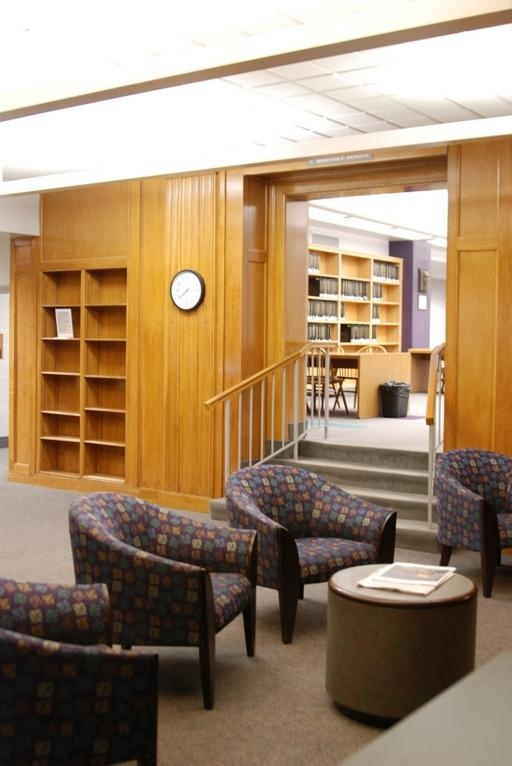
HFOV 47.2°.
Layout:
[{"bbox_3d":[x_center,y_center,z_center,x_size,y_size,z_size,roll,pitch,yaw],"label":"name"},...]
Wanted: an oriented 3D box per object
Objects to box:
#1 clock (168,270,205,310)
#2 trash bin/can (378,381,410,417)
[{"bbox_3d":[-0.799,-1.101,6.925,0.432,0.536,0.080,2,1,38],"label":"clock"},{"bbox_3d":[2.169,0.260,9.689,0.507,0.712,0.498,1,-1,-44],"label":"trash bin/can"}]
